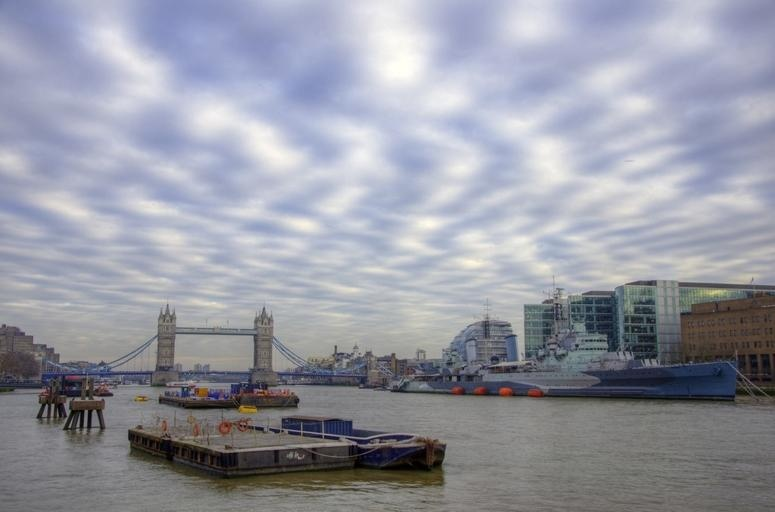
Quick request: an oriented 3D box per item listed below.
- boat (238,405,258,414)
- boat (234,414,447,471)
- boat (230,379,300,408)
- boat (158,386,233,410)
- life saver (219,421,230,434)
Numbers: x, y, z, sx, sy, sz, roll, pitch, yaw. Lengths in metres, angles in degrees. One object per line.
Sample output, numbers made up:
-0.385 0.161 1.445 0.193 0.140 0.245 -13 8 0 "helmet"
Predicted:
-18.357 20.303 87.692 2.290 0.655 1.669 -7 -11 36 "boat"
-2.447 13.123 46.902 11.830 3.047 3.422 -7 -14 32 "boat"
-17.417 20.137 94.509 8.019 1.795 5.566 6 -10 -25 "boat"
-28.240 20.557 96.596 8.335 2.276 11.072 6 -7 -37 "boat"
-11.184 11.743 45.529 0.644 0.910 1.990 5 -12 -16 "life saver"
